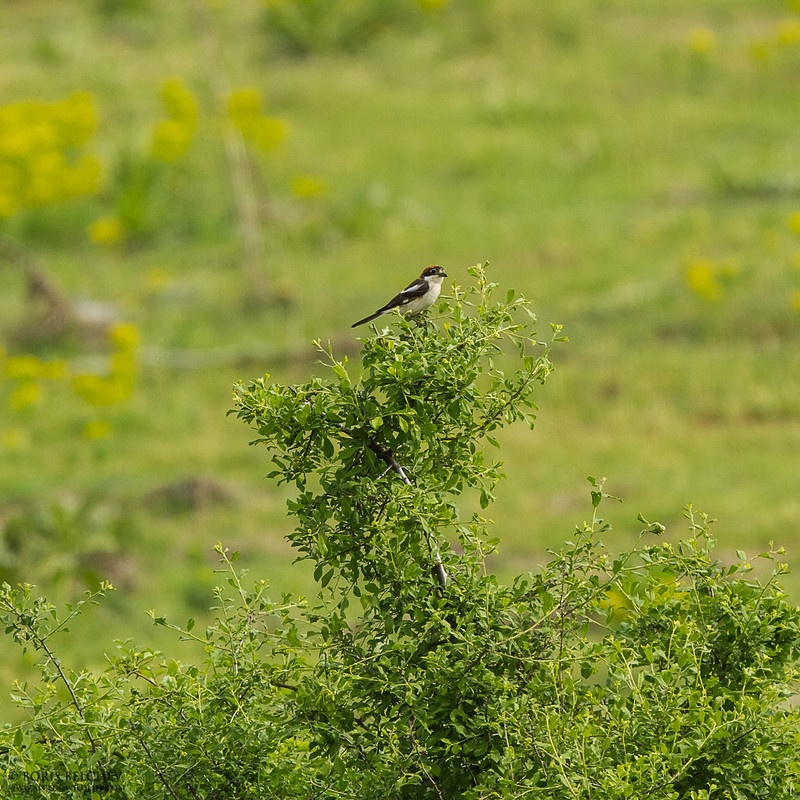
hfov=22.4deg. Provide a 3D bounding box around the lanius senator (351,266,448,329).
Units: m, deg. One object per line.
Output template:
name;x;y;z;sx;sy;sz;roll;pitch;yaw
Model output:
lanius senator;0.004;-0.263;5.189;0.291;0.109;0.076;-11;-2;28
